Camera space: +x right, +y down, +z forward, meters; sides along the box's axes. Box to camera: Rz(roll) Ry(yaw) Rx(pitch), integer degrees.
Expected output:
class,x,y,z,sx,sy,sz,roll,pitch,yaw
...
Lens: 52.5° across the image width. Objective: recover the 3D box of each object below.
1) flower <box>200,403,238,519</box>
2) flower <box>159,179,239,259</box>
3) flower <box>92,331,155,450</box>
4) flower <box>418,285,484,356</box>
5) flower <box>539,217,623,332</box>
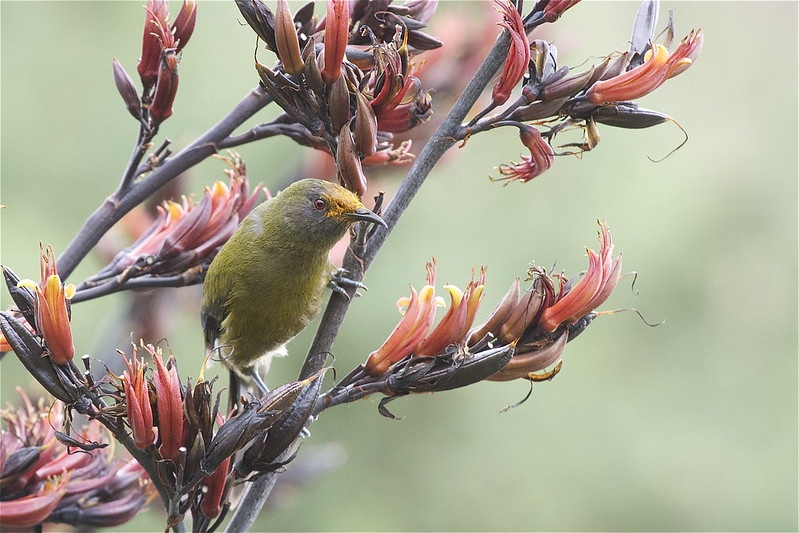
class,x,y,z,sx,sy,sz,roll,pitch,yaw
flower,-0.355,0.395,1.613,0.070,0.066,0.245,-13,-51,-43
flower,-0.453,-0.107,1.878,0.203,0.085,0.117,-39,-55,-3
flower,-0.527,0.210,1.586,0.098,0.277,0.290,1,-42,-15
flower,0.097,0.100,1.608,0.089,0.066,0.189,-29,-38,-55
flower,0.367,0.037,1.671,0.199,0.170,0.143,-25,-41,14
